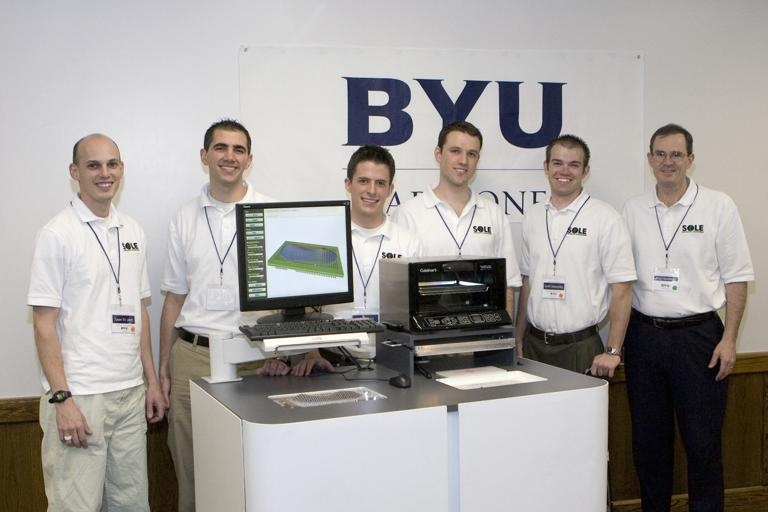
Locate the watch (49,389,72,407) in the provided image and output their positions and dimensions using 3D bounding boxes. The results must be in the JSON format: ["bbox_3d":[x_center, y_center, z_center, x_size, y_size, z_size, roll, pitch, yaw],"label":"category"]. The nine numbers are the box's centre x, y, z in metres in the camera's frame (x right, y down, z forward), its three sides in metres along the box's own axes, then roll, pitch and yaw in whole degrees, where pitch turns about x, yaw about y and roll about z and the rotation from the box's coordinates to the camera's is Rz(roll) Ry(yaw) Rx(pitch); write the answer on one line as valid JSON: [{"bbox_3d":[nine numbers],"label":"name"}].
[{"bbox_3d":[-1.786,0.775,3.561,0.087,0.079,0.098,-11,-19,-37],"label":"watch"}]

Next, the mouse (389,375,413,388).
[{"bbox_3d":[0.090,0.653,3.358,0.053,0.034,0.088,-5,2,-39],"label":"mouse"}]

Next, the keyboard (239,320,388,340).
[{"bbox_3d":[-0.376,0.385,3.389,0.764,0.086,0.161,-4,4,-6],"label":"keyboard"}]

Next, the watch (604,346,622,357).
[{"bbox_3d":[1.511,0.636,4.290,0.104,0.062,0.073,0,5,36],"label":"watch"}]
